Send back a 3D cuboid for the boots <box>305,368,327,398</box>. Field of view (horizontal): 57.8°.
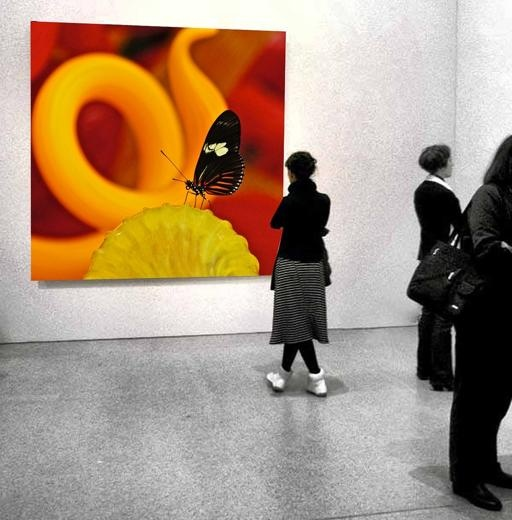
[{"bbox_3d":[0.407,0.835,3.104,0.076,0.145,0.213,-1,6,-3],"label":"boots"}]

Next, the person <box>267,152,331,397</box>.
[{"bbox_3d":[0.300,0.094,3.095,0.390,1.630,0.330,0,1,5],"label":"person"}]

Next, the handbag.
[{"bbox_3d":[0.690,0.077,1.737,0.244,0.286,0.250,3,16,2],"label":"handbag"}]

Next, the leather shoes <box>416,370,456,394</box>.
[{"bbox_3d":[1.270,0.869,3.281,0.237,0.098,0.082,-1,-2,32],"label":"leather shoes"}]

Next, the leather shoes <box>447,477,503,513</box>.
[{"bbox_3d":[0.854,0.897,1.813,0.072,0.075,0.191,0,0,-29],"label":"leather shoes"}]
